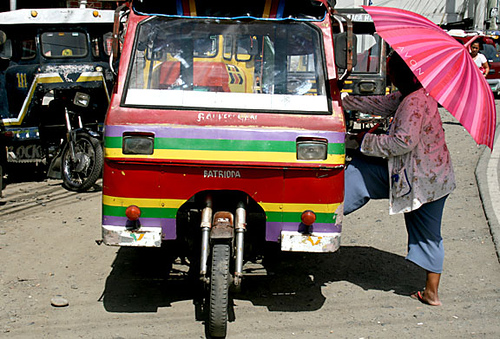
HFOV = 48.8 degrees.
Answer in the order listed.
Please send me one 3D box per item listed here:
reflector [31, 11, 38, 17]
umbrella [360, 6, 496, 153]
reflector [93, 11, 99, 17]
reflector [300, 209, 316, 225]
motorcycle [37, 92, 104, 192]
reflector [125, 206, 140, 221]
[{"bbox_3d":[-3.892,-2.828,9.896,0.108,0.095,0.036,-6,18,-7],"label":"reflector"},{"bbox_3d":[1.799,-0.917,5.374,1.156,1.314,0.848,3,19,20],"label":"umbrella"},{"bbox_3d":[-2.924,-2.967,10.379,0.041,0.103,0.101,10,23,37],"label":"reflector"},{"bbox_3d":[0.546,0.443,5.161,0.124,0.128,0.076,3,-10,6],"label":"reflector"},{"bbox_3d":[-3.394,-0.665,10.419,1.372,1.912,3.060,2,3,-25],"label":"motorcycle"},{"bbox_3d":[-1.105,0.405,5.232,0.119,0.131,0.115,4,24,26],"label":"reflector"}]
